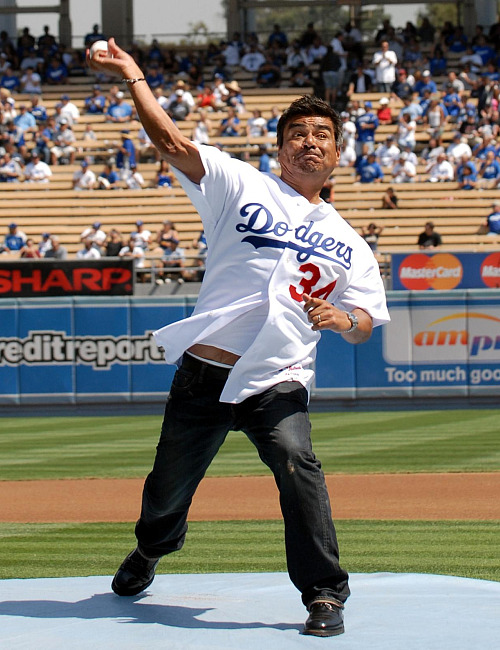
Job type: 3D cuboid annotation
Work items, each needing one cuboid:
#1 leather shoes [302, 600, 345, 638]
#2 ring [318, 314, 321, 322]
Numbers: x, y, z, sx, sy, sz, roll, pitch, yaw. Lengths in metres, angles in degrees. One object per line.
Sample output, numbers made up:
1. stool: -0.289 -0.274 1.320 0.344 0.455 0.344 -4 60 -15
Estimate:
1. leather shoes: 0.397 1.589 7.515 0.171 0.132 0.367 0 -7 2
2. ring: 0.373 -0.034 7.482 0.022 0.025 0.008 -3 -6 -7
